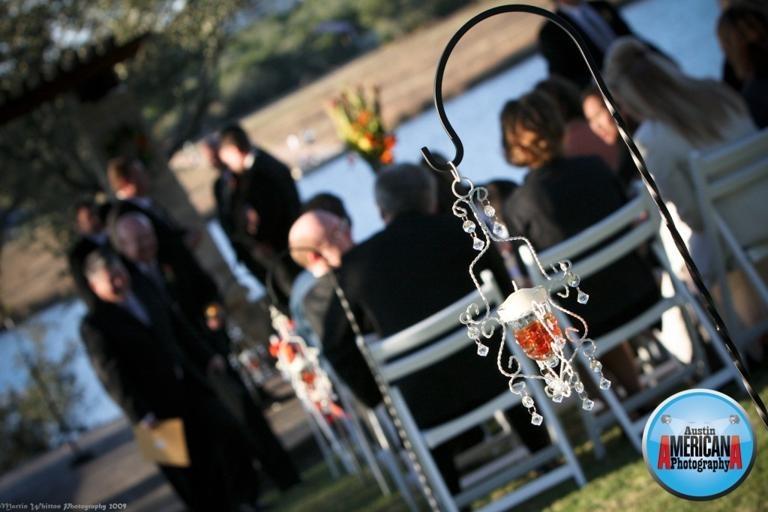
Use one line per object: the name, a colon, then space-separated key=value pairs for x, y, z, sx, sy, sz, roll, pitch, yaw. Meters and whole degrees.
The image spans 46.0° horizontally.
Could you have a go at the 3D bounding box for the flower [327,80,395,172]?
flower: x=-0.128 y=-0.635 z=4.458 sx=0.225 sy=0.397 sz=0.237 roll=-26 pitch=-2 yaw=-44

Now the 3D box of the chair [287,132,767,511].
chair: x=0.547 y=-0.043 z=4.446 sx=1.624 sy=1.738 sz=1.308 roll=-34 pitch=6 yaw=0
